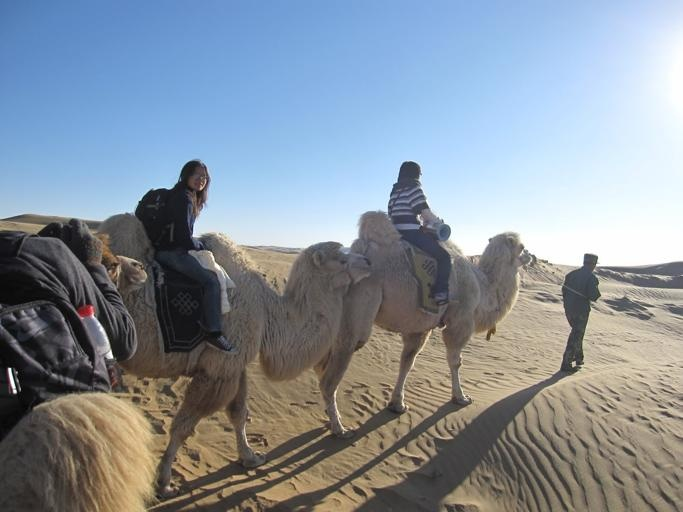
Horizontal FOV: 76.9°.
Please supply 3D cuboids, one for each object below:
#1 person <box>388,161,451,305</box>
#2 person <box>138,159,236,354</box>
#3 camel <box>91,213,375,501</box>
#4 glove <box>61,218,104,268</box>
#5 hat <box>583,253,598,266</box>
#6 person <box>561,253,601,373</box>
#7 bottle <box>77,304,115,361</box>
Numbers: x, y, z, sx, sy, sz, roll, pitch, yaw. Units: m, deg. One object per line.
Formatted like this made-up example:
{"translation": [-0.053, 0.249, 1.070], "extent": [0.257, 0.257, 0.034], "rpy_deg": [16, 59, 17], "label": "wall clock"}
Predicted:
{"translation": [1.277, -0.349, 6.891], "extent": [0.856, 2.388, 0.964], "rpy_deg": [-1, -3, -31], "label": "person"}
{"translation": [-1.591, -0.026, 4.451], "extent": [0.913, 1.874, 0.589], "rpy_deg": [1, 6, -15], "label": "person"}
{"translation": [-1.649, 1.159, 4.997], "extent": [3.735, 2.769, 1.101], "rpy_deg": [3, 8, -11], "label": "camel"}
{"translation": [-1.619, -0.067, 2.663], "extent": [0.164, 0.389, 0.208], "rpy_deg": [9, 11, 28], "label": "glove"}
{"translation": [5.026, 0.076, 8.655], "extent": [0.170, 0.198, 0.187], "rpy_deg": [7, 8, -7], "label": "hat"}
{"translation": [5.440, 1.275, 9.782], "extent": [0.707, 2.685, 0.806], "rpy_deg": [5, 6, 22], "label": "person"}
{"translation": [-1.378, 0.425, 2.404], "extent": [0.169, 0.293, 0.162], "rpy_deg": [11, 14, -3], "label": "bottle"}
